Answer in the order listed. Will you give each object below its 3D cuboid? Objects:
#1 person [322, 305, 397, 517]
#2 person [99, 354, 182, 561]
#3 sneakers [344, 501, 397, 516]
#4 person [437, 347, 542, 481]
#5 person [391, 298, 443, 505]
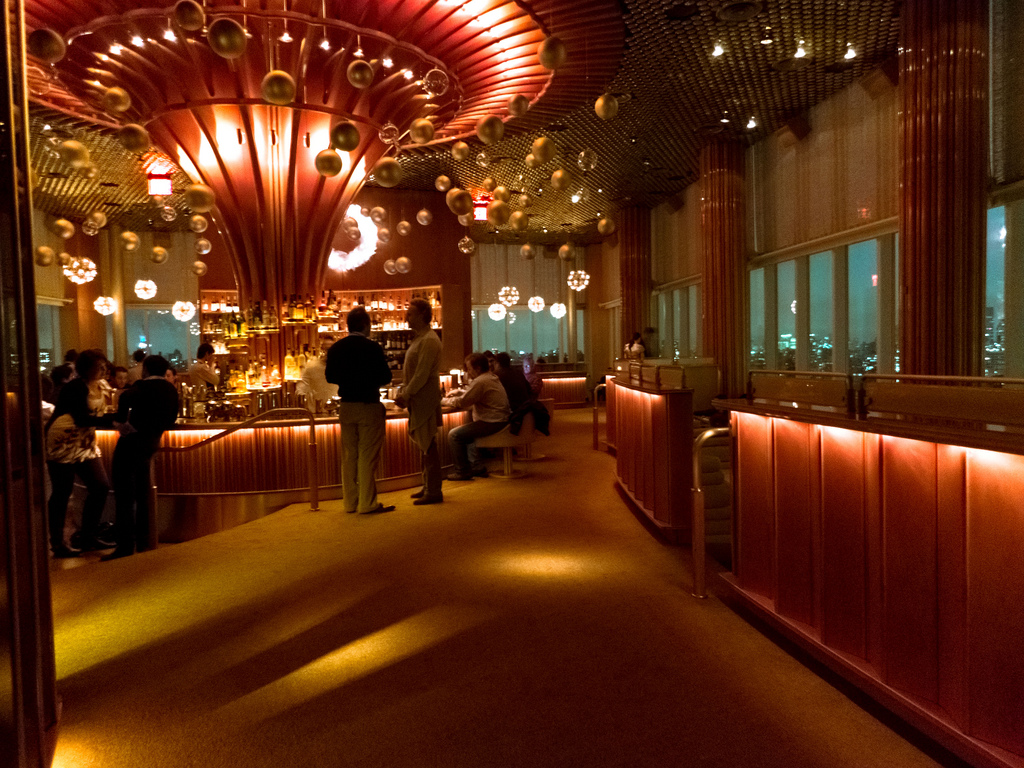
[{"bbox_3d":[-1.389,0.236,7.082,0.512,1.884,0.415,4,9,36],"label":"person"},{"bbox_3d":[-3.280,0.628,6.833,0.643,1.778,0.322,-6,9,-35],"label":"person"},{"bbox_3d":[-1.321,1.104,7.109,0.452,0.184,0.156,-2,2,-13],"label":"sneakers"},{"bbox_3d":[-0.336,0.348,9.017,0.852,1.392,0.917,-2,8,-5],"label":"person"},{"bbox_3d":[-0.897,0.175,7.438,0.428,1.964,0.466,-2,7,-6],"label":"person"}]
